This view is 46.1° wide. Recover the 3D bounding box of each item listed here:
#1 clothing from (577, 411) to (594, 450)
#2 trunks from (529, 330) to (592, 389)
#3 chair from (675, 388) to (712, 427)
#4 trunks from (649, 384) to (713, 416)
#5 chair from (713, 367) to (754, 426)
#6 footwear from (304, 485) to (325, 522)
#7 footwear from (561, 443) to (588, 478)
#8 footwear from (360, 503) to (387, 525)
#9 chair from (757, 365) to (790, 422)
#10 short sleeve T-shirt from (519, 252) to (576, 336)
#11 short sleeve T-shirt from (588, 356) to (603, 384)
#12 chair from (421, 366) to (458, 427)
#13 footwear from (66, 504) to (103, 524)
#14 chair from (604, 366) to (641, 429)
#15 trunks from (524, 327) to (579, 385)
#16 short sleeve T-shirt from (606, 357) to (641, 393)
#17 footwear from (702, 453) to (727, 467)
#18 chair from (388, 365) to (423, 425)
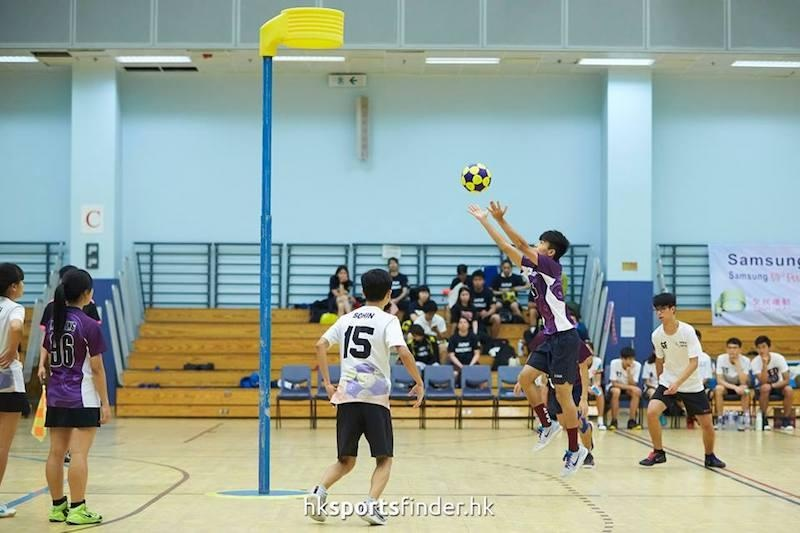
[{"bbox_3d":[2.789,2.506,14.269,0.190,0.581,0.242,-10,-5,4],"label":"clothing"},{"bbox_3d":[2.287,1.365,13.702,0.886,0.840,0.668,0,-4,-6],"label":"trunks"},{"bbox_3d":[4.479,2.102,14.433,0.482,0.525,0.237,0,0,16],"label":"chair"},{"bbox_3d":[4.397,2.094,14.762,0.953,0.582,0.377,3,17,12],"label":"trunks"},{"bbox_3d":[6.142,2.530,18.174,0.813,1.171,0.807,0,-12,4],"label":"chair"},{"bbox_3d":[-1.108,3.110,12.341,0.258,0.470,0.344,0,0,-6],"label":"footwear"},{"bbox_3d":[2.573,2.848,13.997,0.279,0.623,0.226,11,27,-5],"label":"footwear"},{"bbox_3d":[-0.343,3.234,12.256,0.267,0.307,0.290,0,0,9],"label":"footwear"},{"bbox_3d":[7.038,2.338,17.790,0.608,1.459,0.295,0,0,21],"label":"chair"},{"bbox_3d":[2.115,0.421,13.700,0.776,1.154,0.365,0,0,-6],"label":"short sleeve T-shirt"},{"bbox_3d":[3.788,1.990,18.188,0.158,0.436,0.425,9,-8,-13],"label":"short sleeve T-shirt"},{"bbox_3d":[0.781,2.423,18.302,0.813,1.370,0.929,0,-7,-2],"label":"chair"},{"bbox_3d":[-4.146,3.242,12.368,0.411,0.212,0.233,1,-1,-5],"label":"footwear"},{"bbox_3d":[4.309,2.433,18.179,0.602,1.316,1.066,0,0,12],"label":"chair"},{"bbox_3d":[2.239,1.272,14.121,0.716,1.044,0.876,8,-5,-9],"label":"trunks"},{"bbox_3d":[4.303,2.071,18.379,0.795,0.868,0.487,1,-7,-6],"label":"short sleeve T-shirt"},{"bbox_3d":[4.857,3.009,14.610,0.326,0.232,0.179,-2,-2,9],"label":"footwear"},{"bbox_3d":[0.043,2.476,18.228,0.846,1.545,1.096,1,-5,-1],"label":"chair"}]
